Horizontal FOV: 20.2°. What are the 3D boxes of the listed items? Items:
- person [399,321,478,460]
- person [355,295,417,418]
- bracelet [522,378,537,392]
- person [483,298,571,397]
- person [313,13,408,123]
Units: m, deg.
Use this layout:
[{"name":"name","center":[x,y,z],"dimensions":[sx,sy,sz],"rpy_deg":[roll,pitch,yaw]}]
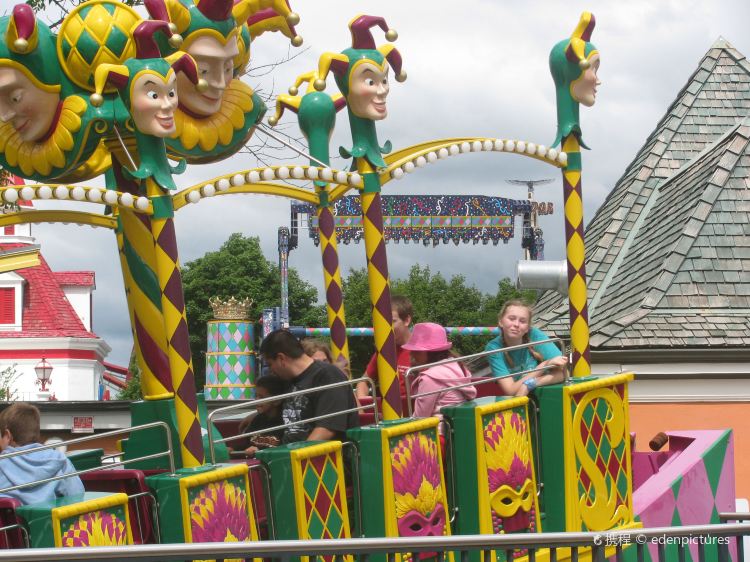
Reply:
[{"name":"person","center":[0.696,1.173,22.999],"dimensions":[0.780,1.517,1.026],"rpy_deg":[2,-8,0]},{"name":"person","center":[0.157,0.880,24.269],"dimensions":[0.926,1.360,0.919],"rpy_deg":[-5,6,-13]},{"name":"bracelet","center":[1.693,1.125,22.972],"dimensions":[0.134,0.100,0.117],"rpy_deg":[-1,-4,27]},{"name":"person","center":[1.677,0.726,23.187],"dimensions":[0.936,0.960,0.926],"rpy_deg":[-5,8,11]},{"name":"person","center":[-0.159,-2.482,24.032],"dimensions":[1.404,1.175,0.751],"rpy_deg":[-13,19,-42]}]
